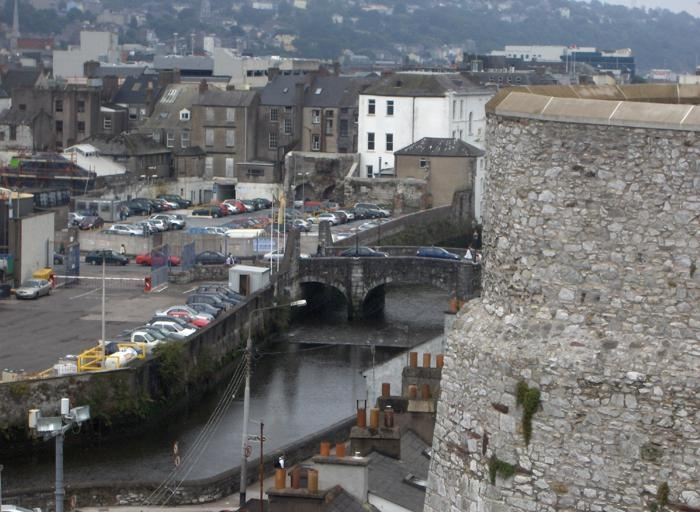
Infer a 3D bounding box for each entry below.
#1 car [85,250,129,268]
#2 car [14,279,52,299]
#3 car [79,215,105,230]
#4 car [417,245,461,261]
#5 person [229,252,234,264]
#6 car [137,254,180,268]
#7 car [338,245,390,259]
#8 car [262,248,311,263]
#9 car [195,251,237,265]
[{"bbox_3d":[-14.920,0.165,90.091,2.013,0.728,0.964,-1,5,4],"label":"car"},{"bbox_3d":[-17.344,1.865,80.766,0.955,0.978,2.342,6,18,21],"label":"car"},{"bbox_3d":[-17.969,-2.316,101.935,0.971,0.715,2.277,1,2,3],"label":"car"},{"bbox_3d":[5.226,-0.177,90.540,1.883,0.739,1.062,1,7,15],"label":"car"},{"bbox_3d":[-7.359,0.198,90.311,0.345,0.271,0.786,-1,30,1],"label":"person"},{"bbox_3d":[-11.994,0.424,91.259,2.175,0.769,1.045,-2,3,2],"label":"car"},{"bbox_3d":[0.684,-0.239,91.268,2.463,0.893,1.156,-1,3,10],"label":"car"},{"bbox_3d":[-4.119,0.136,89.442,2.230,0.844,1.112,2,3,14],"label":"car"},{"bbox_3d":[-8.335,0.136,89.987,2.074,0.754,0.984,-1,5,2],"label":"car"}]
